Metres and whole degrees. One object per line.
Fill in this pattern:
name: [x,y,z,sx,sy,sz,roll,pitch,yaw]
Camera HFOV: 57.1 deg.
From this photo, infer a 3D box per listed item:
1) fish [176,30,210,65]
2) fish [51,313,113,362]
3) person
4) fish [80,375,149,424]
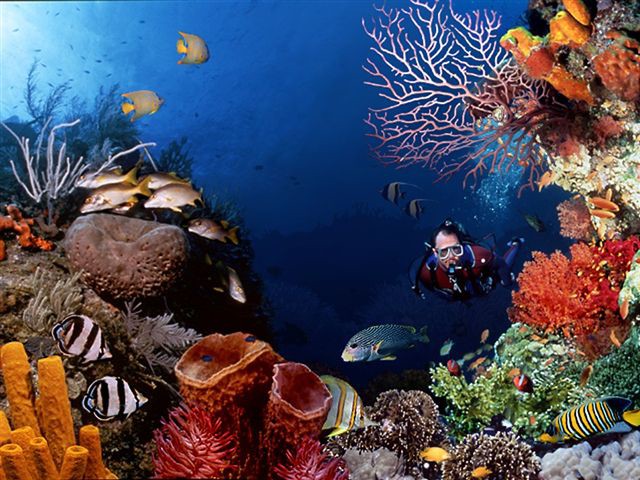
fish: [-1.770,-2.587,8.120,0.407,0.595,0.627,0,41,-14]
fish: [-2.710,1.155,6.692,0.623,0.529,0.293,6,39,-8]
person: [2.406,0.170,9.535,1.195,1.154,1.768,-11,23,42]
fish: [-2.313,1.792,6.609,0.660,0.487,0.308,-3,41,-17]
